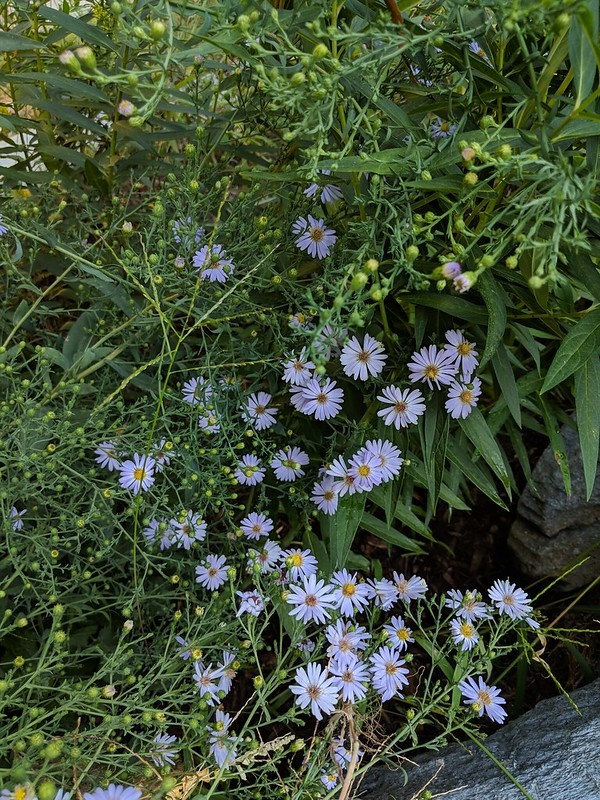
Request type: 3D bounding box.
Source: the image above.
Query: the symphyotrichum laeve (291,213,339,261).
[{"bbox_3d":[0.033,-0.326,1.481,0.085,0.122,0.089,-6,53,4],"label":"symphyotrichum laeve"}]
